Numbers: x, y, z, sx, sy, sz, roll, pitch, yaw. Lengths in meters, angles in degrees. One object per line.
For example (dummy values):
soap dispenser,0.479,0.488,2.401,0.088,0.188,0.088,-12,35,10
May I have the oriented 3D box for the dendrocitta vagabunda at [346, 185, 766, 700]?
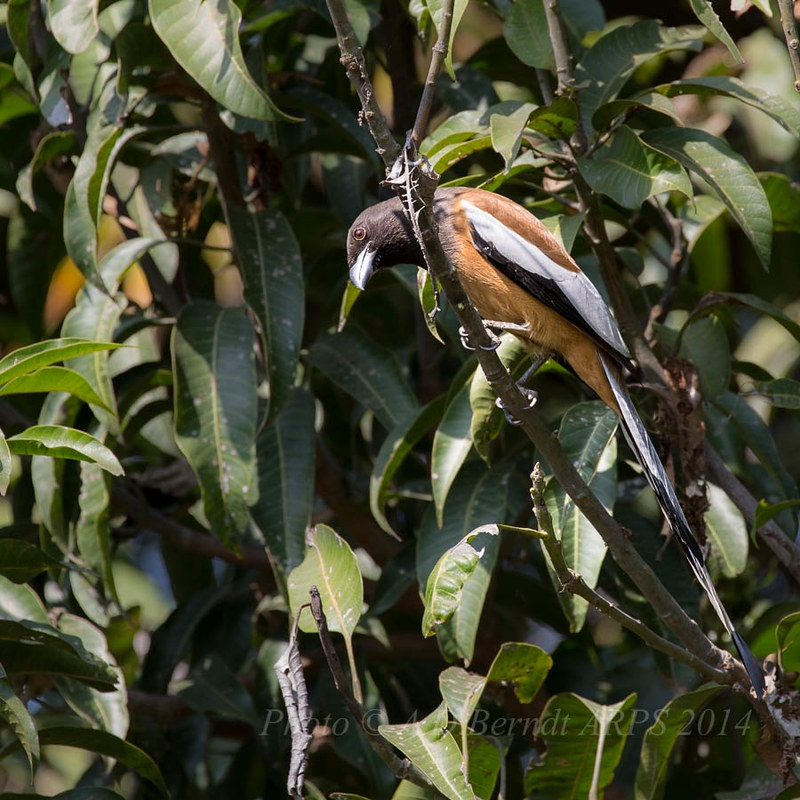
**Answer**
dendrocitta vagabunda,0.504,-0.151,3.842,1.439,0.593,0.326,21,-25,-11
